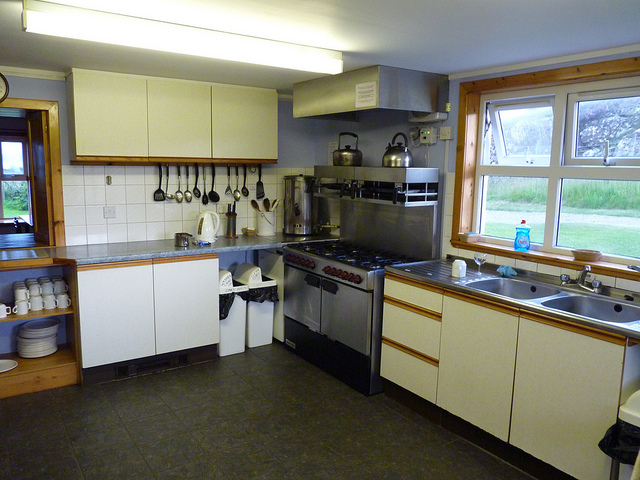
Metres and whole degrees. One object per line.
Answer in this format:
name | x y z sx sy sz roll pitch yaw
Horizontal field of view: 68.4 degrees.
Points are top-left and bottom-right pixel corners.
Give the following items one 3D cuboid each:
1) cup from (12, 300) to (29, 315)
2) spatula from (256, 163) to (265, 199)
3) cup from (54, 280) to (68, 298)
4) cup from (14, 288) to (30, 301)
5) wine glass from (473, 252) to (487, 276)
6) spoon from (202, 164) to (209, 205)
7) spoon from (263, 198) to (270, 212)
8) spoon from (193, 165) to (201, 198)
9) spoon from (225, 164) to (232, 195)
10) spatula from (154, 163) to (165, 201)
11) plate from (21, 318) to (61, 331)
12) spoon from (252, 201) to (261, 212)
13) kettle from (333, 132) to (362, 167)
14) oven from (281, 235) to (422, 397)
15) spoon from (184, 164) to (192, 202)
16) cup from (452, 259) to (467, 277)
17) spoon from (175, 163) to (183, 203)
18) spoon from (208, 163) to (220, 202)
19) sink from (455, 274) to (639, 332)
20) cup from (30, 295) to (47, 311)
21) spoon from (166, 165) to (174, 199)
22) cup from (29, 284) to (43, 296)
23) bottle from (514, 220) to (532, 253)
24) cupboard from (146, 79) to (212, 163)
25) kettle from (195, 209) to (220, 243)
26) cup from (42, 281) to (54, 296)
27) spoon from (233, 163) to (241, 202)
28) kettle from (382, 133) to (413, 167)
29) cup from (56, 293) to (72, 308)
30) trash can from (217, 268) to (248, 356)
cup | -2.533 0.576 3.986 0.082 0.133 0.141 11 10 40
spatula | -0.677 -0.663 5.376 0.059 0.392 0.106 10 14 44
cup | -2.315 0.423 4.186 0.082 0.124 0.131 1 -2 42
cup | -2.555 0.473 4.013 0.088 0.109 0.064 -6 12 -30
wine glass | 1.303 0.183 3.838 0.109 0.150 0.347 3 11 18
spoon | -1.238 -0.586 5.061 0.044 0.416 0.081 2 11 15
spoon | -0.608 -0.392 5.325 0.046 0.171 0.025 -6 36 -13
spoon | -1.303 -0.612 4.943 0.078 0.328 0.053 -2 16 -16
spoon | -1.013 -0.650 5.152 0.075 0.319 0.149 -2 10 -9
spatula | -1.632 -0.571 4.742 0.099 0.373 0.142 -4 11 -19
plate | -2.545 0.781 4.284 0.313 0.051 0.288 -6 11 -29
spoon | -0.726 -0.393 5.338 0.029 0.049 0.201 15 36 -43
kettle | 0.275 -0.915 4.736 0.296 0.320 0.298 10 17 26
oven | 0.216 0.664 4.531 0.711 1.143 1.280 -5 12 -41
spoon | -1.398 -0.578 4.936 0.067 0.370 0.130 -1 10 -5
cup | 1.067 0.227 3.622 0.116 0.128 0.115 0 0 0
spoon | -1.463 -0.576 4.835 0.078 0.405 0.184 -3 11 -16
spoon | -1.131 -0.596 5.034 0.106 0.379 0.055 -5 9 -30
sink | 1.605 0.422 3.329 1.071 0.187 0.581 9 13 41
cup | -2.435 0.546 4.050 0.118 0.121 0.100 10 14 44
spoon | -1.562 -0.588 4.858 0.057 0.335 0.080 4 11 24
cup | -2.478 0.443 4.089 0.083 0.111 0.117 1 0 40
bottle | 1.643 -0.034 3.803 0.124 0.247 0.265 4 11 24
cupboard | -1.474 -1.171 4.673 0.691 0.706 0.417 -3 14 -45
kettle | -1.124 -0.126 4.753 0.192 0.325 0.337 4 11 23
cup | -2.392 0.433 4.120 0.111 0.115 0.089 -3 5 -36
spoon | -0.932 -0.623 5.210 0.079 0.391 0.123 -1 10 -4
kettle | 0.696 -0.796 4.198 0.295 0.320 0.298 -3 9 -39
cup | -2.239 0.535 4.098 0.139 0.132 0.087 6 -9 -30
trash can | -0.871 0.733 4.660 0.317 0.827 0.191 -2 10 -10
